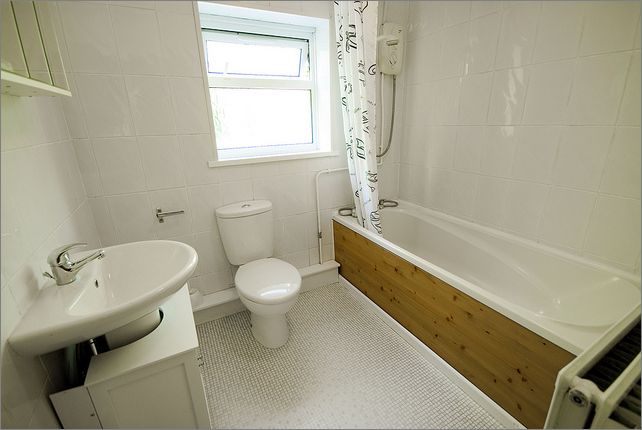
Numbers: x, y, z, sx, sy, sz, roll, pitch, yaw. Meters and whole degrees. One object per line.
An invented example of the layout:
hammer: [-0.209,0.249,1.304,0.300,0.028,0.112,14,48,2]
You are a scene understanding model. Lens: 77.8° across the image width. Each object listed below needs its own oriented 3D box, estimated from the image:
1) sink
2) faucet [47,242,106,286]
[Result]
sink: [-1.091,0.402,2.020,0.492,0.137,0.542,-8,25,-21]
faucet: [-1.272,0.248,2.053,0.311,0.228,0.115,-3,16,-16]
